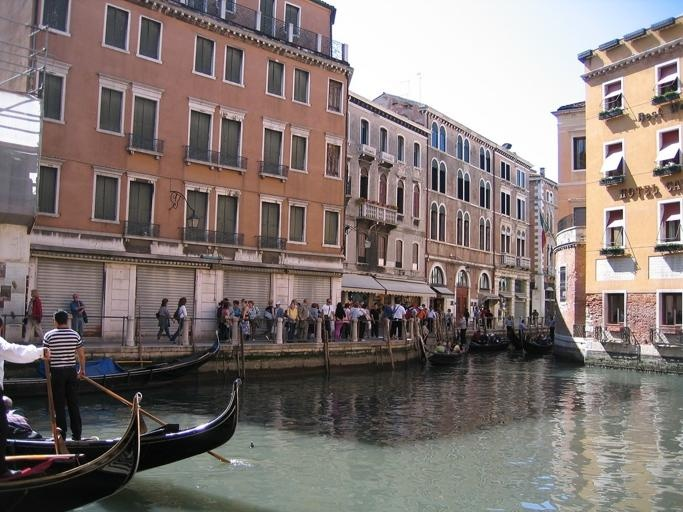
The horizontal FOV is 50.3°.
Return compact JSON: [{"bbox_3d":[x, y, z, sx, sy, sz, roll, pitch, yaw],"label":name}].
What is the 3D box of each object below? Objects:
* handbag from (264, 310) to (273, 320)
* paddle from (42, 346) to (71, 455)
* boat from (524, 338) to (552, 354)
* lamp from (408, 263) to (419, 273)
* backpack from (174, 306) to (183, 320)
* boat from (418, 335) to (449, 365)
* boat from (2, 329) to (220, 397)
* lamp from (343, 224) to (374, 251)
[{"bbox_3d":[-3.364,2.773,33.685,0.363,0.429,0.214,2,-23,-6],"label":"handbag"},{"bbox_3d":[-6.786,3.494,17.382,0.308,0.934,2.772,-10,32,-17],"label":"paddle"},{"bbox_3d":[13.163,6.027,48.893,0.859,1.089,2.837,-2,-19,37],"label":"boat"},{"bbox_3d":[4.896,0.965,49.780,0.405,0.584,0.765,-6,-11,40],"label":"lamp"},{"bbox_3d":[-6.838,2.453,30.562,0.339,0.486,0.490,4,-7,-8],"label":"backpack"},{"bbox_3d":[4.750,5.147,37.773,0.739,0.957,2.536,2,-19,30],"label":"boat"},{"bbox_3d":[-6.889,3.850,26.960,1.958,2.728,10.774,-8,-10,42],"label":"boat"},{"bbox_3d":[1.035,-1.110,44.072,1.747,1.972,0.999,0,-1,-13],"label":"lamp"}]
